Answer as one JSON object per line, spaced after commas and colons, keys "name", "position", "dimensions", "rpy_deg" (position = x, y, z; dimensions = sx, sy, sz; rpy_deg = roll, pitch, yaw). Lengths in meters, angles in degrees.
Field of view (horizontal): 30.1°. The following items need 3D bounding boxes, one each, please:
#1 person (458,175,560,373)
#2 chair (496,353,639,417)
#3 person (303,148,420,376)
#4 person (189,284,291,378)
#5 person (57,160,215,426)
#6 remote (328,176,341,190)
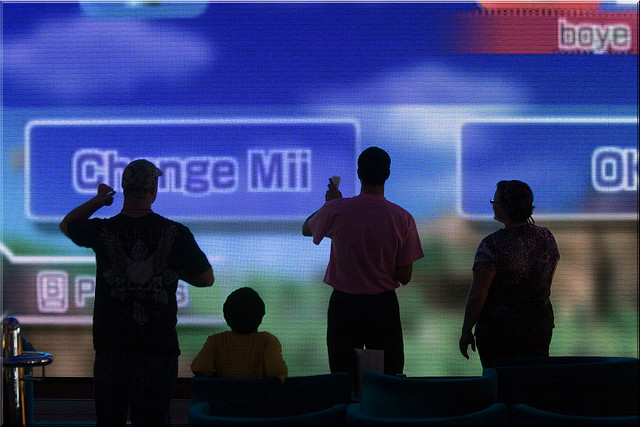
{"name": "person", "position": [1.275, 0.410, 8.072], "dimensions": [0.691, 1.265, 0.307], "rpy_deg": [-2, -2, 5]}
{"name": "chair", "position": [1.574, 1.079, 7.574], "dimensions": [0.604, 0.555, 0.548], "rpy_deg": [0, -1, 1]}
{"name": "person", "position": [0.300, 0.330, 8.114], "dimensions": [0.746, 1.527, 0.227], "rpy_deg": [-2, -2, -2]}
{"name": "person", "position": [-0.536, 0.805, 8.030], "dimensions": [0.989, 0.667, 0.439], "rpy_deg": [1, -6, 4]}
{"name": "person", "position": [-1.192, 0.516, 7.783], "dimensions": [0.970, 1.723, 0.242], "rpy_deg": [-2, -2, -2]}
{"name": "remote", "position": [0.114, -0.212, 8.243], "dimensions": [0.113, 0.076, 0.096], "rpy_deg": [-1, 33, 3]}
